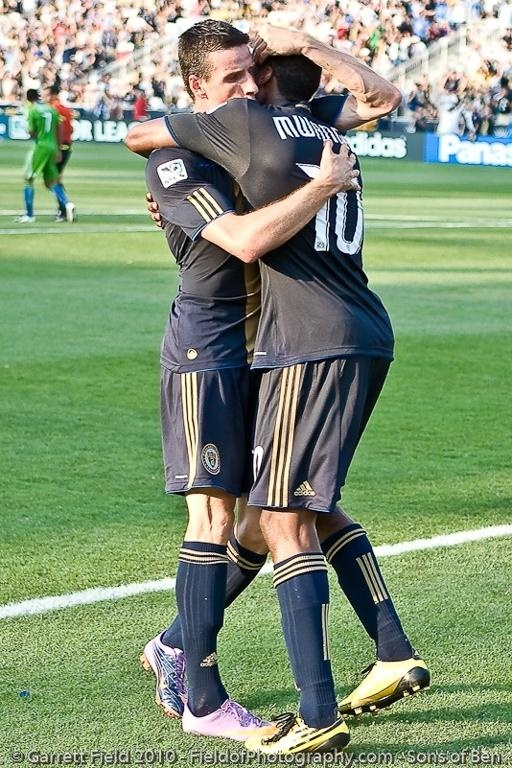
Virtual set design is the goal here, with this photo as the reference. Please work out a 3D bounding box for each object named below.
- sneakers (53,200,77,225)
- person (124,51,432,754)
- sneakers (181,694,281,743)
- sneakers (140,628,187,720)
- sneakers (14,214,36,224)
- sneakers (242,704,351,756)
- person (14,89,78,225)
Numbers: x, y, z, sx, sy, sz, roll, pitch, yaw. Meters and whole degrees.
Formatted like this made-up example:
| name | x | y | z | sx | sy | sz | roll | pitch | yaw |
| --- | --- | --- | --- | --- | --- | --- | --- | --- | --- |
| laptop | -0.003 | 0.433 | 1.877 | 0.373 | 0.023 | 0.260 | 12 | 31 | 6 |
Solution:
| name | x | y | z | sx | sy | sz | roll | pitch | yaw |
| --- | --- | --- | --- | --- | --- | --- | --- | --- | --- |
| sneakers | -2.760 | -2.460 | 13.057 | 0.218 | 0.221 | 0.571 | 2 | 7 | -8 |
| person | 0.115 | 0.024 | 2.054 | 0.509 | 1.536 | 0.682 | -6 | 16 | -29 |
| sneakers | -0.060 | 0.766 | 2.065 | 0.249 | 0.079 | 0.081 | 2 | -2 | 4 |
| sneakers | -0.213 | 0.722 | 2.232 | 0.073 | 0.102 | 0.200 | 27 | 23 | -46 |
| sneakers | -3.407 | -2.379 | 13.069 | 0.407 | 0.150 | 0.147 | 5 | 9 | 37 |
| sneakers | 0.092 | 0.755 | 1.977 | 0.270 | 0.096 | 0.093 | -7 | -15 | 26 |
| person | -3.062 | -3.271 | 12.960 | 0.803 | 1.920 | 1.591 | -2 | 13 | -14 |
